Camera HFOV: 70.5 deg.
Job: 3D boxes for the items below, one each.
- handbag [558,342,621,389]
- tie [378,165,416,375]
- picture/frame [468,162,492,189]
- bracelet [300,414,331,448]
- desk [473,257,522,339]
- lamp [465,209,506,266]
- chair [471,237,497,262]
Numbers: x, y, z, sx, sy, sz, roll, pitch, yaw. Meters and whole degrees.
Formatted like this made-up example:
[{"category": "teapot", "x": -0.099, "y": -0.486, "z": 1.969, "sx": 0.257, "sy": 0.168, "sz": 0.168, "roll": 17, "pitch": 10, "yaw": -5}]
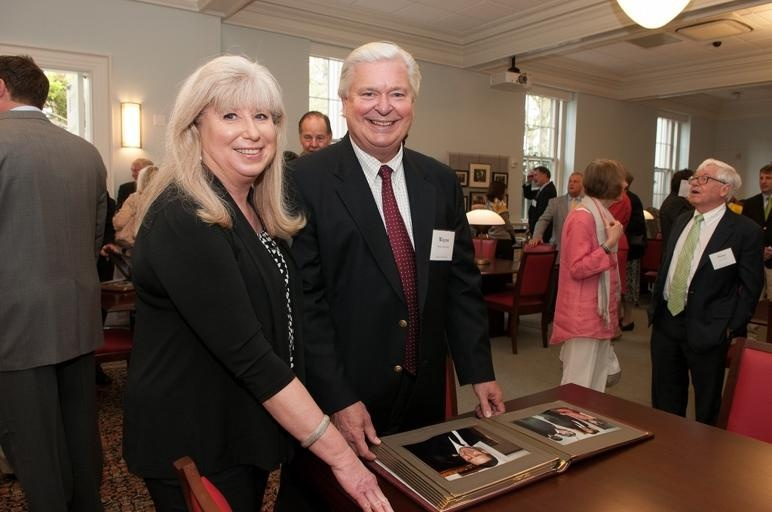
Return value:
[{"category": "handbag", "x": 1.446, "y": 0.745, "z": 3.892, "sx": 0.280, "sy": 0.417, "sz": 0.230, "roll": 9, "pitch": 16, "yaw": 20}, {"category": "tie", "x": 0.065, "y": 0.027, "z": 2.330, "sx": 0.105, "sy": 0.928, "sz": 0.120, "roll": -5, "pitch": -5, "yaw": -16}, {"category": "picture/frame", "x": 1.527, "y": -1.333, "z": 9.067, "sx": 0.585, "sy": 0.604, "sz": 0.059, "roll": -4, "pitch": 8, "yaw": -31}, {"category": "bracelet", "x": -0.237, "y": 0.610, "z": 1.888, "sx": 0.036, "sy": 0.102, "sz": 0.089, "roll": 32, "pitch": 8, "yaw": 1}, {"category": "desk", "x": 1.411, "y": 0.464, "z": 6.391, "sx": 0.539, "sy": 0.776, "sz": 0.648, "roll": 17, "pitch": 18, "yaw": 18}, {"category": "lamp", "x": 1.011, "y": -0.213, "z": 5.868, "sx": 0.523, "sy": 0.583, "sz": 0.531, "roll": -2, "pitch": 5, "yaw": -25}, {"category": "chair", "x": 1.054, "y": -0.062, "z": 5.907, "sx": 0.208, "sy": 0.408, "sz": 0.251, "roll": 2, "pitch": 15, "yaw": 4}]
